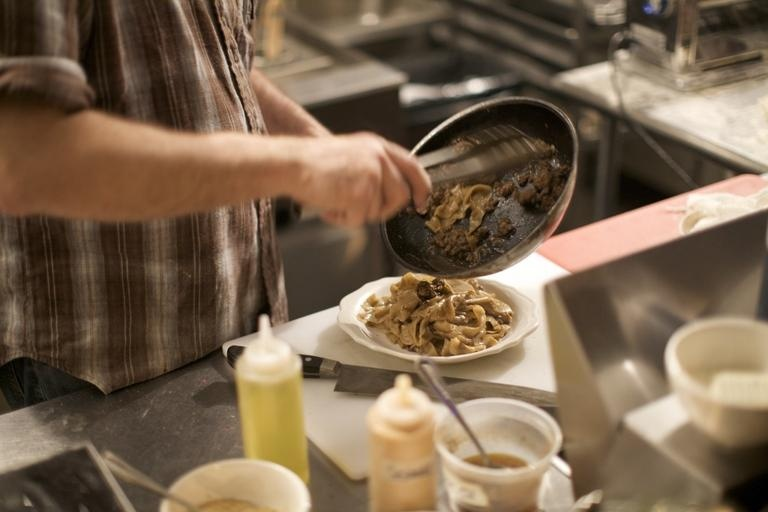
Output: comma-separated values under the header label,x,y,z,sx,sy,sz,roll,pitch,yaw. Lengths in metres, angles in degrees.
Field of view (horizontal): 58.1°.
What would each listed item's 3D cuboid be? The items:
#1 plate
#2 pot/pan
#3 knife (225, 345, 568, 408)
label,x,y,z,sx,sy,sz,roll,pitch,yaw
plate,0.115,0.139,1.407,0.241,0.033,0.232,-7,30,-12
pot/pan,0.241,-0.104,1.479,0.392,0.117,0.383,-18,47,38
knife,0.031,0.208,1.178,0.594,0.046,0.102,4,26,9
